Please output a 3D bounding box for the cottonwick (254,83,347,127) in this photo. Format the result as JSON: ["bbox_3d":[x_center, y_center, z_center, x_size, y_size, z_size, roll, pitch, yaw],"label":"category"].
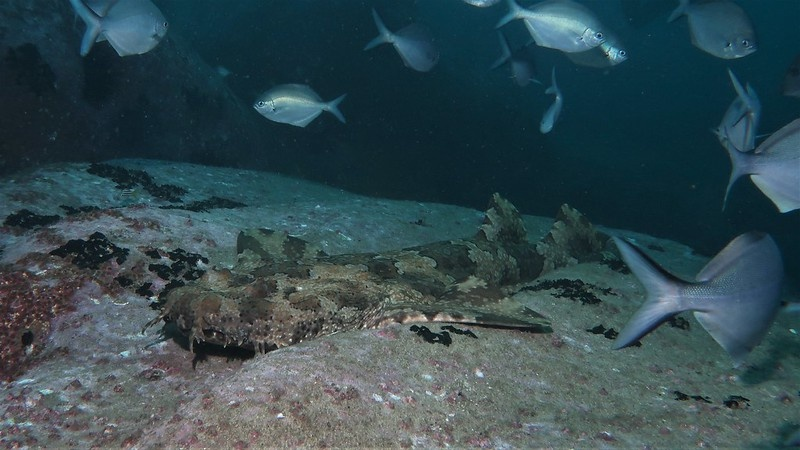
[{"bbox_3d":[-2.498,-2.923,16.571,2.208,1.038,0.488,3,25,-1],"label":"cottonwick"}]

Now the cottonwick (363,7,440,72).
[{"bbox_3d":[0.364,-4.911,17.746,1.635,1.614,3.800,1,3,3],"label":"cottonwick"}]
